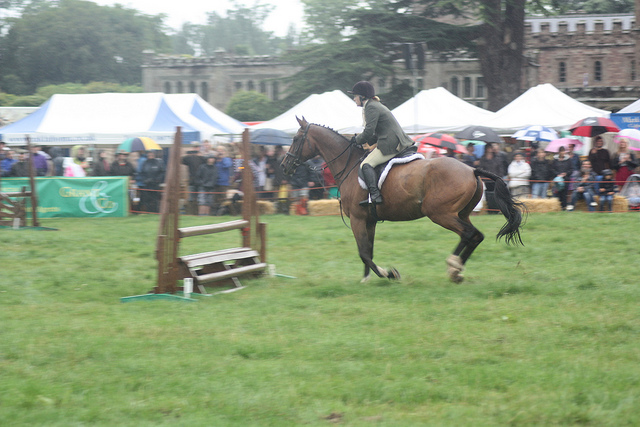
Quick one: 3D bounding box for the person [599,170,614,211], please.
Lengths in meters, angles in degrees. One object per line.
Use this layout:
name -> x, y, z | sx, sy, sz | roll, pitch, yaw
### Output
person -> 8.583, -0.704, 24.767 | 0.380, 1.229, 0.209 | 1, 8, 14

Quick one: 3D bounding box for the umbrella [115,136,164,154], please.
umbrella -> -6.307, -2.383, 28.571 | 1.388, 0.565, 2.385 | -1, 5, -5

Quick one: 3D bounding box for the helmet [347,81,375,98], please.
helmet -> 0.888, -2.747, 18.232 | 0.596, 0.367, 0.502 | -1, 6, -3

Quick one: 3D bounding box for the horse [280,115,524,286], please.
horse -> 2.180, -0.296, 18.882 | 1.863, 3.555, 7.982 | -12, 12, -42

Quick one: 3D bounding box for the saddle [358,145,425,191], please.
saddle -> 1.542, -0.957, 17.785 | 2.243, 0.782, 0.535 | 7, -6, 37

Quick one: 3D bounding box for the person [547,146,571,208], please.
person -> 7.411, -1.125, 25.465 | 0.521, 1.834, 0.552 | -5, 8, -26

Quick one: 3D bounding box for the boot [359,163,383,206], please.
boot -> 1.136, -0.656, 17.822 | 0.266, 0.872, 0.447 | -5, 8, -25

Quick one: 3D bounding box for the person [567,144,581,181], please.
person -> 7.788, -1.457, 25.394 | 0.374, 0.850, 0.615 | 1, 7, 14
